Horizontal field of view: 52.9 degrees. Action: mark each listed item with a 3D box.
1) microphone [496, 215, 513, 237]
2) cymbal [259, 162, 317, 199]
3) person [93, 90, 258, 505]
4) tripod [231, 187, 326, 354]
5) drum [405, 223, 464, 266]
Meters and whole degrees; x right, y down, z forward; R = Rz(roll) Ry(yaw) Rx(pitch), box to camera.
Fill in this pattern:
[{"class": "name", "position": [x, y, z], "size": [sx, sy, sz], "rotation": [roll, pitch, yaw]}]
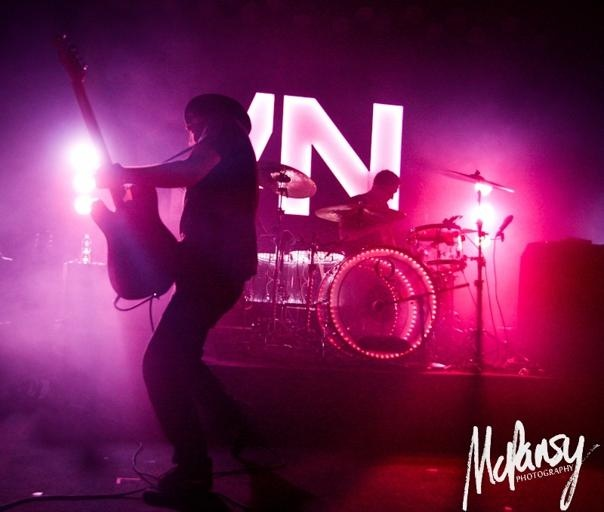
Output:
[{"class": "microphone", "position": [2.162, -0.332, 6.509], "size": [0.063, 0.299, 0.066], "rotation": [30, 11, 39]}, {"class": "cymbal", "position": [-0.137, -0.718, 5.833], "size": [0.528, 0.353, 0.688], "rotation": [4, 9, -1]}, {"class": "person", "position": [-0.645, 0.214, 3.820], "size": [0.592, 2.433, 0.800], "rotation": [10, 11, 41]}, {"class": "tripod", "position": [-0.371, 0.066, 6.023], "size": [1.096, 1.327, 1.265], "rotation": [3, -4, 11]}, {"class": "drum", "position": [1.308, -0.138, 5.964], "size": [0.463, 0.379, 0.496], "rotation": [1, -2, 0]}]
